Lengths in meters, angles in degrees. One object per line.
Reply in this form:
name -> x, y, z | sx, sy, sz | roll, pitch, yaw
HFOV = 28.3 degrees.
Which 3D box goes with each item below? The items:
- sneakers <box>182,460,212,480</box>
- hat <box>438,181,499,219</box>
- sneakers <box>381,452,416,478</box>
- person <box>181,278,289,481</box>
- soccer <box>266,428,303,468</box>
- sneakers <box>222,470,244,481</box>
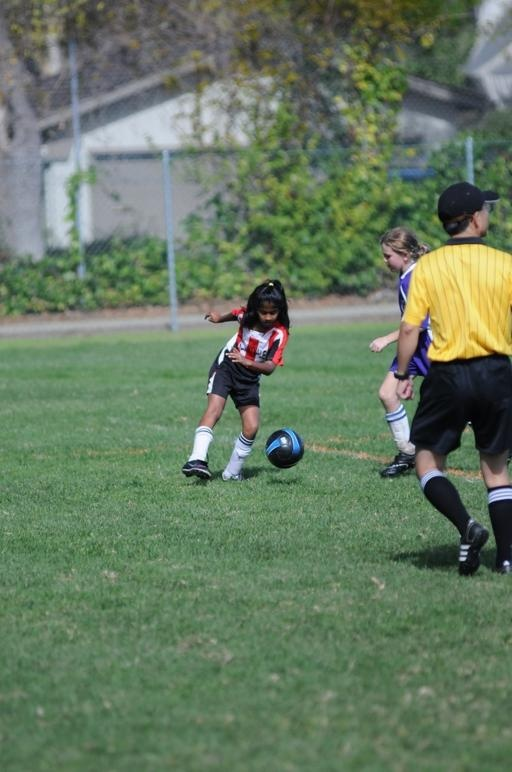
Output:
sneakers -> -0.311, 0.460, 5.596 | 0.079, 0.095, 0.192 | -1, -13, 34
hat -> 0.862, -0.733, 4.099 | 0.218, 0.108, 0.140 | -31, 28, -13
sneakers -> 0.843, 0.474, 6.139 | 0.275, 0.117, 0.096 | -13, 7, -39
person -> -0.123, -0.011, 5.787 | 0.599, 1.181, 0.703 | -1, 9, 0
soccer -> 0.149, 0.374, 5.785 | 0.224, 0.239, 0.214 | 6, -20, -30
sneakers -> -0.142, 0.520, 5.968 | 0.131, 0.052, 0.046 | -1, 14, -5
